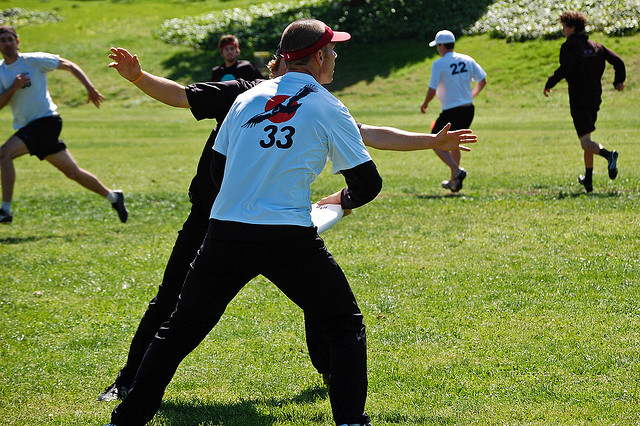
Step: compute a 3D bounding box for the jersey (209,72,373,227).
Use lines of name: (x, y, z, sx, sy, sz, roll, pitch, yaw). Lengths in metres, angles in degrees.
jersey: (-0.500, -0.874, 15.983, 2.964, 2.392, 1.404, 7, 1, 14)

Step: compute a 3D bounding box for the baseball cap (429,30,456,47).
baseball cap: (2.498, -3.566, 22.236, 0.506, 0.267, 0.348, 5, 12, 26)

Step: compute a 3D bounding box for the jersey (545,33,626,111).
jersey: (5.213, -2.842, 21.220, 1.287, 1.566, 1.362, 7, 27, 2)

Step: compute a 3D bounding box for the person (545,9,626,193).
person: (5.108, -2.154, 21.077, 1.429, 3.380, 1.112, 0, 15, 10)
